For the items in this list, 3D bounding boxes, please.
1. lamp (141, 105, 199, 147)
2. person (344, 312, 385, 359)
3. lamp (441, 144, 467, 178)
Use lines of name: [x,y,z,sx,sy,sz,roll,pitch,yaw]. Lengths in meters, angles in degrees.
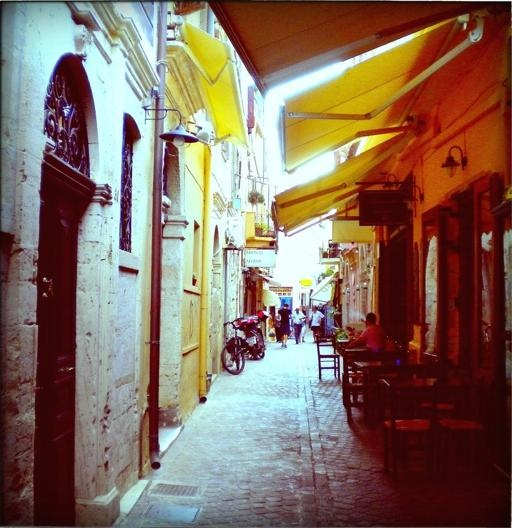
lamp: [-0.944,-1.599,6.140,0.589,0.605,0.442,2,0,16]
person: [1.923,1.204,9.882,0.453,0.733,0.758,14,14,35]
lamp: [2.452,-1.289,6.788,0.285,0.450,0.258,1,-1,-12]
